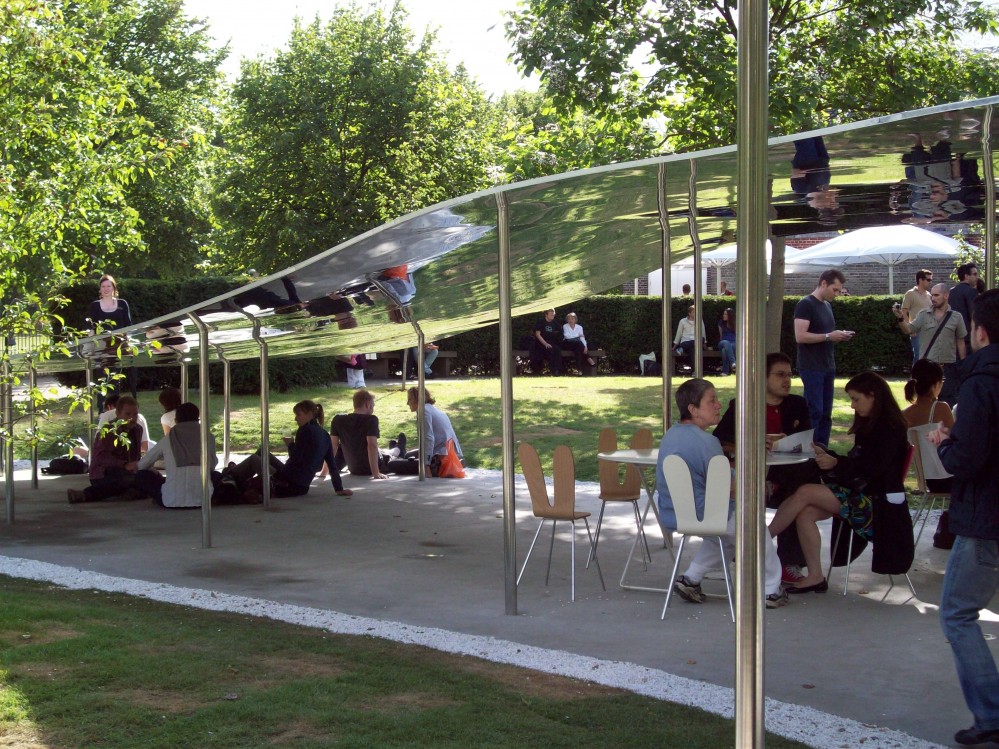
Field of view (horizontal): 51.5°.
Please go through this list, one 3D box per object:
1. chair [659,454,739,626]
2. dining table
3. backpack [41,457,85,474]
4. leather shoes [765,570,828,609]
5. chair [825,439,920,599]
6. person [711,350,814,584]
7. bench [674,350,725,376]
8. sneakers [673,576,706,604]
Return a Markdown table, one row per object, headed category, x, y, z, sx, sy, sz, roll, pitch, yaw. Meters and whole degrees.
| category | x | y | z | sx | sy | sz | roll | pitch | yaw |
| --- | --- | --- | --- | --- | --- | --- | --- | --- | --- |
| chair | 1.443 | 1.115 | 7.404 | 0.562 | 1.002 | 0.638 | -2 | -2 | 29 |
| dining table | 1.470 | 1.084 | 7.394 | 1.330 | 0.642 | 0.740 | -1 | 0 | 34 |
| backpack | -6.666 | 1.384 | 15.876 | 0.593 | 0.278 | 0.553 | -1 | 3 | -22 |
| leather shoes | 2.216 | 1.612 | 7.733 | 0.641 | 0.231 | 0.212 | 2 | -7 | -9 |
| chair | 2.947 | 1.119 | 7.849 | 0.526 | 0.927 | 0.643 | -1 | -17 | 26 |
| person | 2.185 | 0.575 | 8.120 | 0.771 | 1.657 | 0.960 | 9 | -26 | -17 |
| bench | 4.650 | -0.224 | 24.114 | 0.717 | 0.482 | 1.113 | 2 | -5 | -9 |
| sneakers | 1.402 | 1.597 | 7.702 | 0.121 | 0.133 | 0.288 | 36 | 2 | -38 |
